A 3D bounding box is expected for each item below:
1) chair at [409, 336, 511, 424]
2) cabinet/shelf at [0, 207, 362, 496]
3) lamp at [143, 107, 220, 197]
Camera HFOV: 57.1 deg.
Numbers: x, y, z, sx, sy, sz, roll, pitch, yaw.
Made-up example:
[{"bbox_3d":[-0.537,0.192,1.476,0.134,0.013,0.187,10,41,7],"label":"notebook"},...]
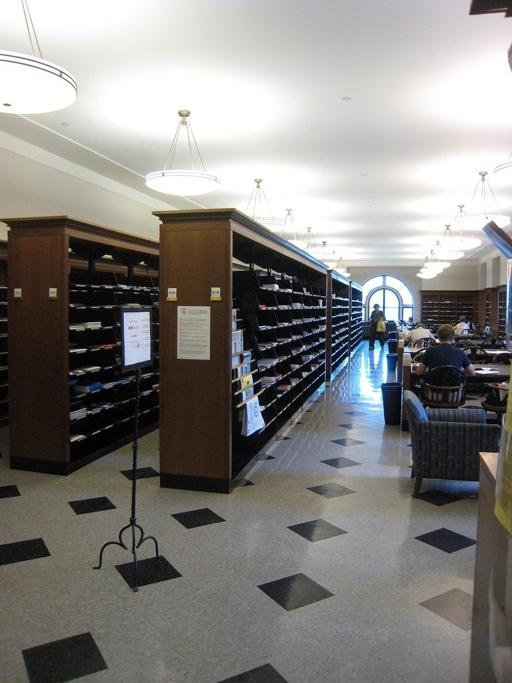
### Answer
[{"bbox_3d":[2.172,0.330,5.346,0.756,1.269,0.822,1,11,12],"label":"chair"},{"bbox_3d":[-0.683,-0.016,5.304,2.253,2.332,4.805,3,6,23],"label":"cabinet/shelf"},{"bbox_3d":[-0.724,-2.027,4.880,0.572,0.692,0.616,6,19,17],"label":"lamp"}]
